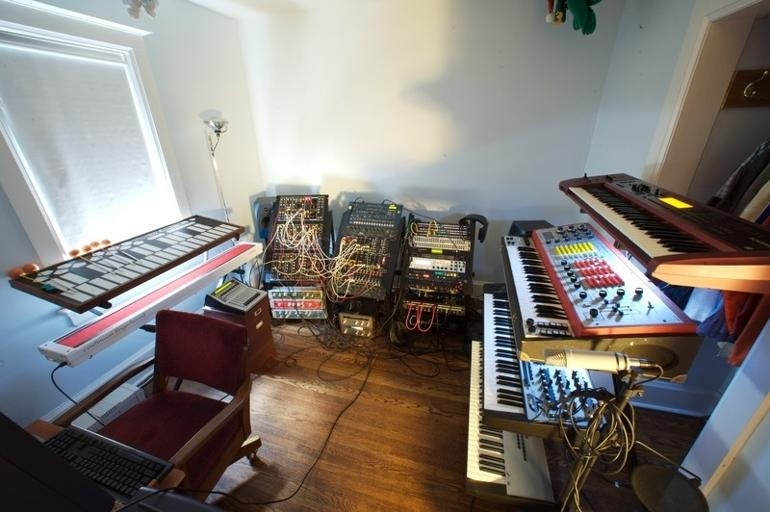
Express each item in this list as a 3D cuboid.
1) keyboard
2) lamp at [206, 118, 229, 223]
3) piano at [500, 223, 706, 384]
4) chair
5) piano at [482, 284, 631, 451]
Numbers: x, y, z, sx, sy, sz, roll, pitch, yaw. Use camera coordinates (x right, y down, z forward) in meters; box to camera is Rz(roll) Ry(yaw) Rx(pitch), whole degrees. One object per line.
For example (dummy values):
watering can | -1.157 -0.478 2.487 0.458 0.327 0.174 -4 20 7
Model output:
keyboard | -1.582 1.185 2.665 0.850 0.234 0.242 12 25 23
lamp | -1.514 -0.784 4.231 0.181 1.024 0.561 -7 25 -20
piano | 1.240 0.261 2.730 0.852 0.492 1.291 -1 36 0
chair | -1.388 1.031 2.934 0.906 1.003 0.895 7 24 3
piano | 0.969 0.725 2.791 0.769 0.334 1.135 6 43 10
